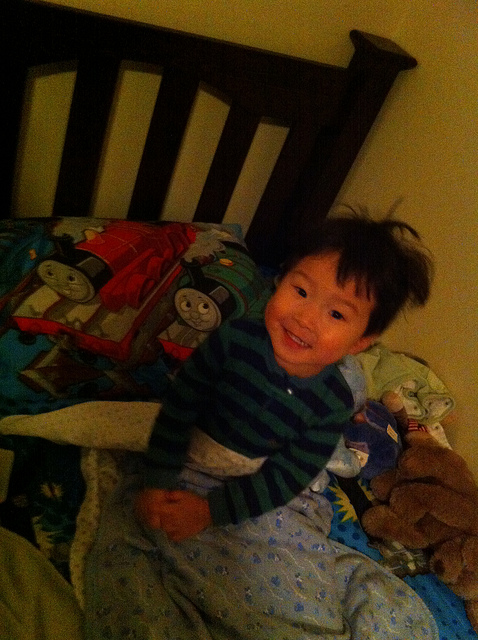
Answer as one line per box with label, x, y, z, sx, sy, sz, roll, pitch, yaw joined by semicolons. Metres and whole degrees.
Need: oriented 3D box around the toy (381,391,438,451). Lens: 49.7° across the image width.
toy;0.299;0.179;0.907;0.072;0.088;0.027;-18;-1;-17
